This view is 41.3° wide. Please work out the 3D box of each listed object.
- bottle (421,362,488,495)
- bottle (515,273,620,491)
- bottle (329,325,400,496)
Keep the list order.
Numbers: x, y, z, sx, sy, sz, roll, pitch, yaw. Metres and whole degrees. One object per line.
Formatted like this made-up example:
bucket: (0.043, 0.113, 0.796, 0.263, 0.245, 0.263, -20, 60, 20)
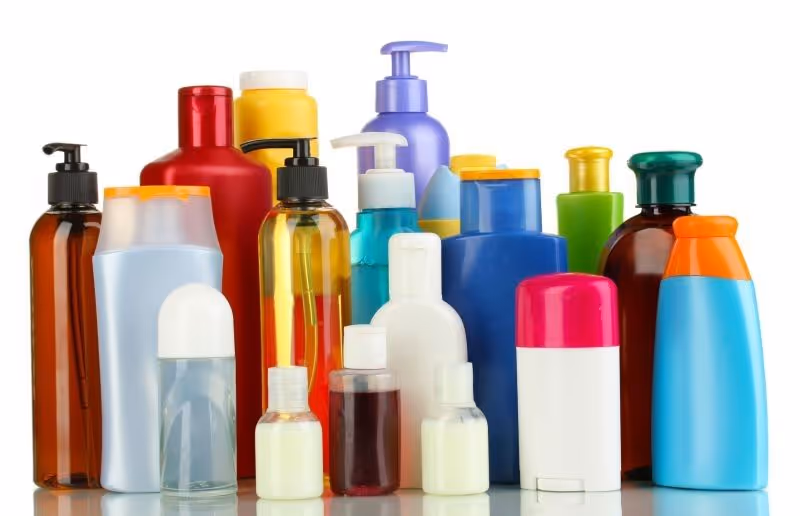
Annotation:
bottle: (0.056, 0.178, 1.102, 0.063, 0.135, 0.027, -3, 9, -5)
bottle: (0.177, 0.133, 1.112, 0.103, 0.229, 0.049, -2, 9, 4)
bottle: (-0.038, 0.160, 1.107, 0.072, 0.177, 0.030, -3, 9, -3)
